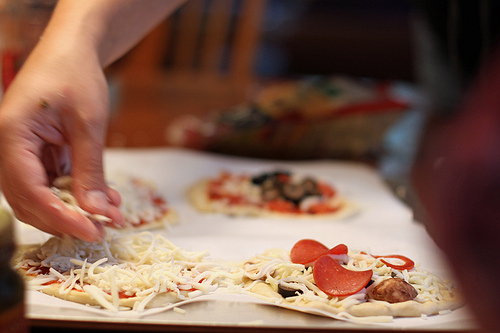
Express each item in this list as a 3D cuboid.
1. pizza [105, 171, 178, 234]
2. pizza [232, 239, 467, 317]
[{"bbox_3d":[-0.342,0.112,1.350,0.195,0.027,0.254,-5,30,-23],"label":"pizza"},{"bbox_3d":[0.208,0.243,0.957,0.257,0.045,0.231,7,8,27],"label":"pizza"}]
